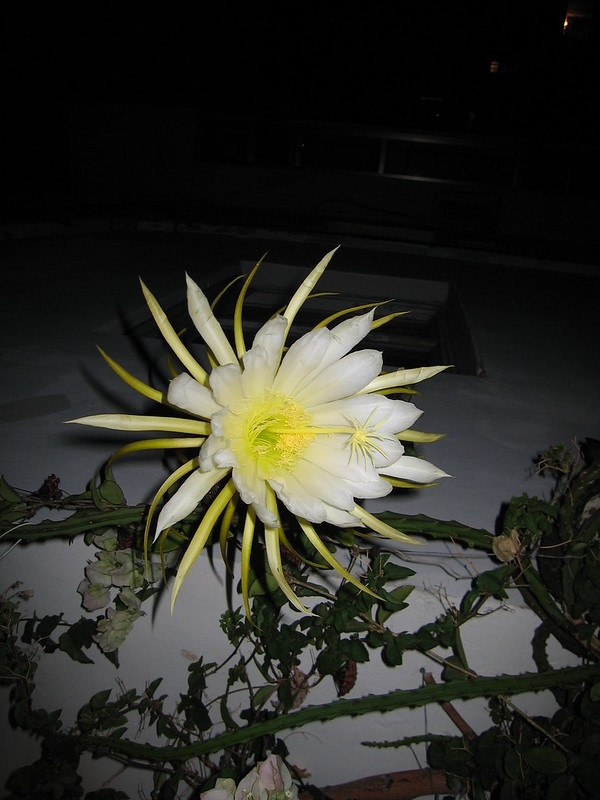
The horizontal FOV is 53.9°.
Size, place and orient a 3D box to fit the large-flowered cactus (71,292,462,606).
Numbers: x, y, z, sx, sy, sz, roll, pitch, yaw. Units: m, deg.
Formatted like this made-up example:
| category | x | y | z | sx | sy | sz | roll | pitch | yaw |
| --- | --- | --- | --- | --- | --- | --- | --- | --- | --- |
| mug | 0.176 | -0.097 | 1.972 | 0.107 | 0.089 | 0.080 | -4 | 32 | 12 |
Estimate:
| category | x | y | z | sx | sy | sz | roll | pitch | yaw |
| --- | --- | --- | --- | --- | --- | --- | --- | --- | --- |
| large-flowered cactus | -0.021 | 0.005 | 0.586 | 0.308 | 0.218 | 0.288 | 0 | -72 | -7 |

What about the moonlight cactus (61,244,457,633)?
| category | x | y | z | sx | sy | sz | roll | pitch | yaw |
| --- | --- | --- | --- | --- | --- | --- | --- | --- | --- |
| moonlight cactus | 0.006 | 0.017 | 0.544 | 0.360 | 0.312 | 0.148 | -20 | 2 | -10 |
